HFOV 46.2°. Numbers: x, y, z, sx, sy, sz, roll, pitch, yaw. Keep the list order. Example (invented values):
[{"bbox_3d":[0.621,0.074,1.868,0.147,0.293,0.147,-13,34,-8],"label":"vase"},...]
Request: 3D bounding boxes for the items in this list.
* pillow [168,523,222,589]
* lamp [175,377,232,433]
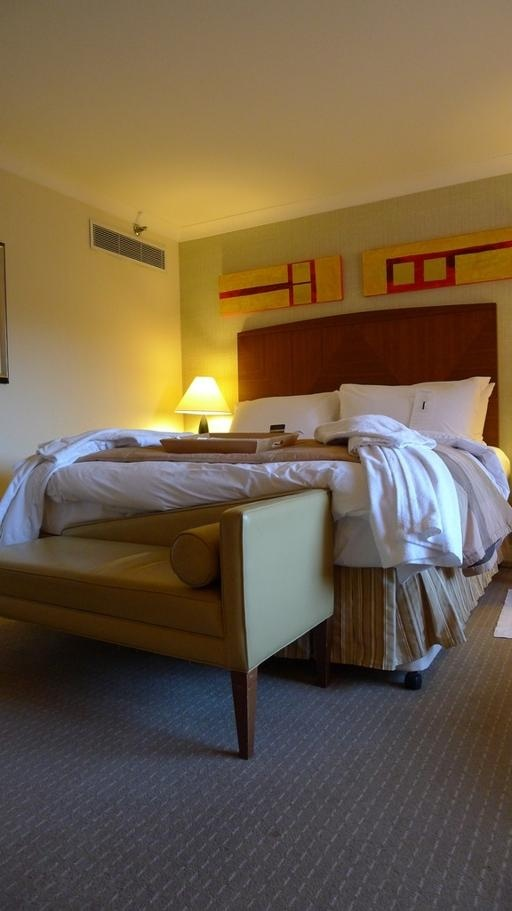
[{"bbox_3d":[-0.131,0.226,1.394,0.118,0.119,0.146,14,11,12],"label":"pillow"},{"bbox_3d":[-0.426,-0.327,4.574,0.390,0.650,0.440,0,2,-13],"label":"lamp"}]
